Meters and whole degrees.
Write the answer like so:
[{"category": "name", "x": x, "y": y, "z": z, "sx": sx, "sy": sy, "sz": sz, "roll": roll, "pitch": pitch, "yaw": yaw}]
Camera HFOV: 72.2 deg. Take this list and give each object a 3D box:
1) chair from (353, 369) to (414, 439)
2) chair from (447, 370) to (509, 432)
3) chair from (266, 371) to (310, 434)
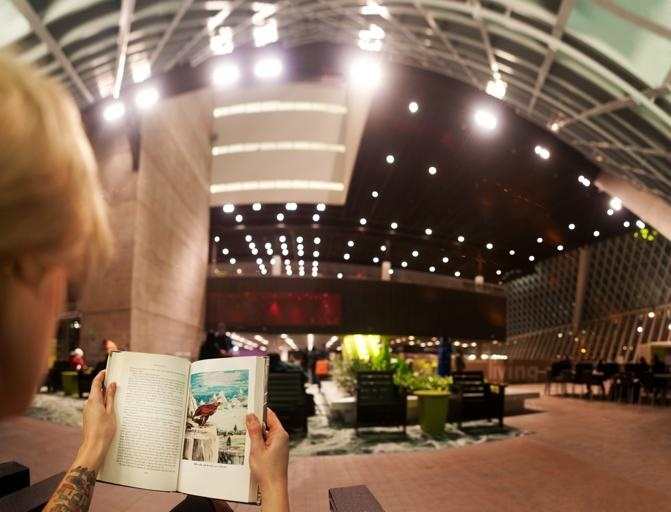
[{"category": "chair", "x": 0.284, "y": 0.873, "z": 2.991, "sx": 0.320, "sy": 0.466, "sz": 0.319, "roll": 0, "pitch": 16, "yaw": 5}, {"category": "chair", "x": 0.878, "y": 0.895, "z": 2.897, "sx": 0.309, "sy": 0.315, "sz": 0.208, "roll": 3, "pitch": -8, "yaw": -11}, {"category": "chair", "x": -0.559, "y": 1.802, "z": 5.630, "sx": 0.553, "sy": 0.731, "sz": 1.094, "roll": -1, "pitch": -18, "yaw": -3}]
